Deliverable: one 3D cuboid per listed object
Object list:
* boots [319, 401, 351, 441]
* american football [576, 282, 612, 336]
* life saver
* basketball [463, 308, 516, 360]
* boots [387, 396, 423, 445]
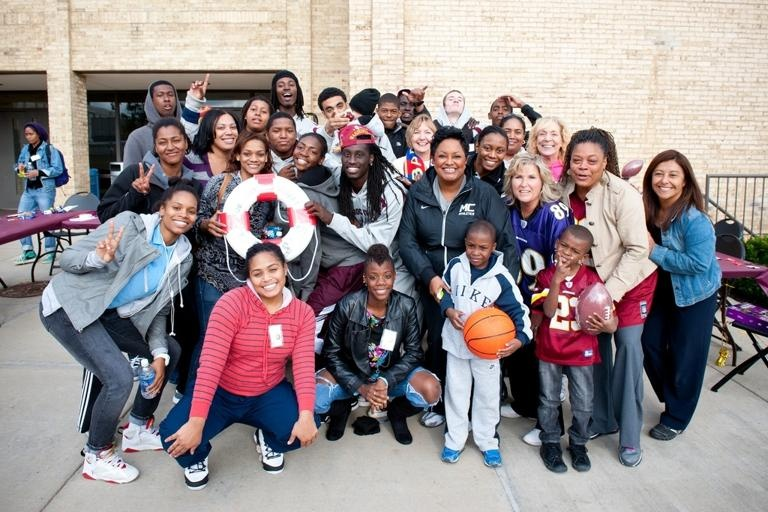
[{"bbox_3d":[-0.489,1.679,5.727,0.165,0.196,0.496,4,22,11],"label":"boots"},{"bbox_3d":[1.978,0.474,5.339,0.305,0.349,0.424,17,38,18],"label":"american football"},{"bbox_3d":[-1.191,-0.365,5.508,0.892,0.910,0.237,-3,-1,-21],"label":"life saver"},{"bbox_3d":[0.984,0.721,5.220,0.460,0.450,0.388,-2,-3,4],"label":"basketball"},{"bbox_3d":[0.166,1.725,5.755,0.180,0.376,0.529,-5,-2,-10],"label":"boots"}]
